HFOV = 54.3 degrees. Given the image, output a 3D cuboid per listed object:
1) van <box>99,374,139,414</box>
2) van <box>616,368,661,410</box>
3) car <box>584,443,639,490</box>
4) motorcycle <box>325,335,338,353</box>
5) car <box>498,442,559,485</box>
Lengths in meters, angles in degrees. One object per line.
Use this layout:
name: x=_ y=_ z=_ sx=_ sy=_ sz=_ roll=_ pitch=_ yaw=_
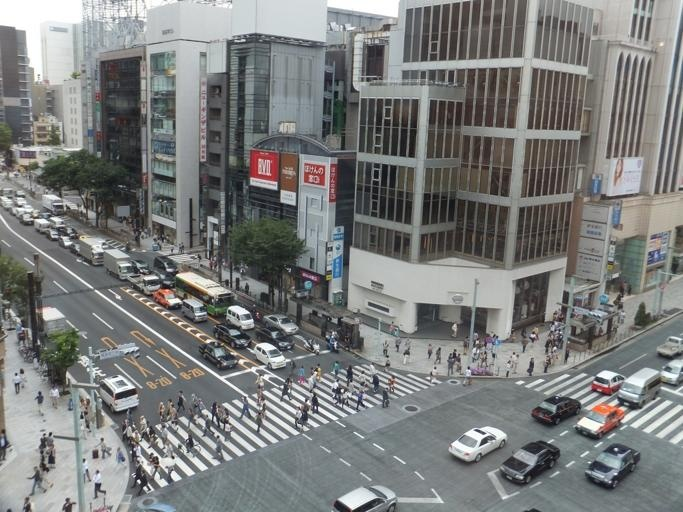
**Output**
van: x=-22.104 y=13.256 z=65.794 sx=2.640 sy=2.573 sz=5.933 roll=-13 pitch=21 yaw=-37
van: x=30.526 y=13.488 z=68.238 sx=5.194 sy=2.766 sz=2.747 roll=-16 pitch=19 yaw=-40
car: x=23.217 y=18.239 z=57.036 sx=4.934 sy=1.983 sz=2.424 roll=-19 pitch=21 yaw=-38
motorcycle: x=-1.014 y=10.127 z=76.572 sx=0.695 sy=1.708 sz=1.259 roll=-17 pitch=-15 yaw=3
car: x=16.406 y=17.634 z=57.574 sx=5.739 sy=1.898 sz=2.537 roll=-14 pitch=16 yaw=-36
